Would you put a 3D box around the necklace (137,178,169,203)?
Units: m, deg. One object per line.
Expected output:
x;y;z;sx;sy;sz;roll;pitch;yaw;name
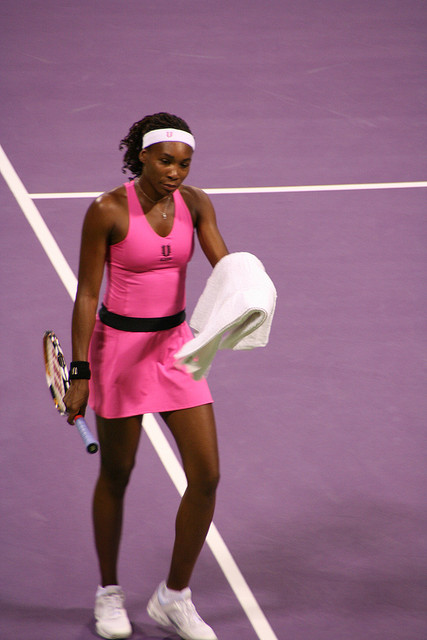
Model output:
-0.228;-0.470;2.497;0.124;0.070;0.072;11;12;-1;necklace

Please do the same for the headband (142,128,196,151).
-0.158;-0.638;2.420;0.185;0.085;0.127;9;12;-7;headband

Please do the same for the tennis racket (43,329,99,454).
-0.535;0.278;2.500;0.210;0.066;0.669;-8;40;-19;tennis racket
